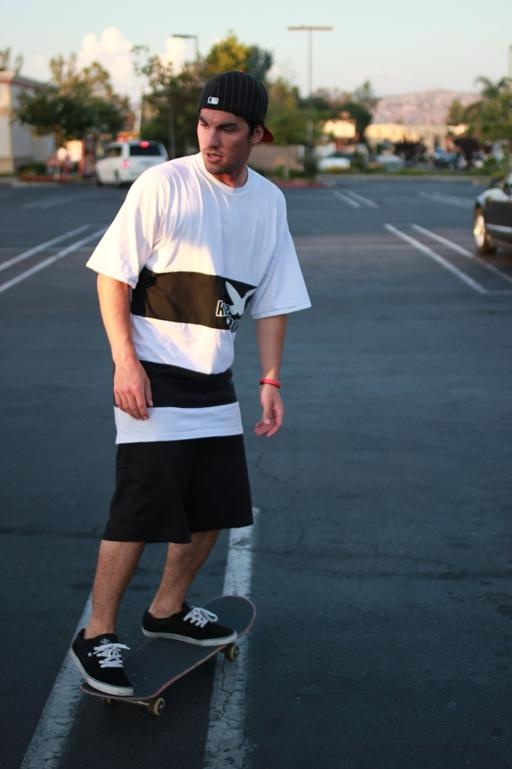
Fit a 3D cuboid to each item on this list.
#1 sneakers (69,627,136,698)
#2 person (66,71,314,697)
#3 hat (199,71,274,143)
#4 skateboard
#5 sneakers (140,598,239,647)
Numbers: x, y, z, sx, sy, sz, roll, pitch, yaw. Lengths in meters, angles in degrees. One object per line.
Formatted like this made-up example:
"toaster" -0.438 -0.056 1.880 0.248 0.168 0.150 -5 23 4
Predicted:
"sneakers" -0.400 0.714 2.095 0.084 0.094 0.229 8 17 -42
"person" -0.204 0.068 2.230 0.315 1.423 0.812 8 14 35
"hat" -0.046 -0.760 2.147 0.130 0.132 0.180 24 3 37
"skateboard" -0.204 0.763 2.303 0.165 0.108 0.624 13 14 22
"sneakers" -0.192 0.714 2.383 0.319 0.126 0.108 4 23 -3
